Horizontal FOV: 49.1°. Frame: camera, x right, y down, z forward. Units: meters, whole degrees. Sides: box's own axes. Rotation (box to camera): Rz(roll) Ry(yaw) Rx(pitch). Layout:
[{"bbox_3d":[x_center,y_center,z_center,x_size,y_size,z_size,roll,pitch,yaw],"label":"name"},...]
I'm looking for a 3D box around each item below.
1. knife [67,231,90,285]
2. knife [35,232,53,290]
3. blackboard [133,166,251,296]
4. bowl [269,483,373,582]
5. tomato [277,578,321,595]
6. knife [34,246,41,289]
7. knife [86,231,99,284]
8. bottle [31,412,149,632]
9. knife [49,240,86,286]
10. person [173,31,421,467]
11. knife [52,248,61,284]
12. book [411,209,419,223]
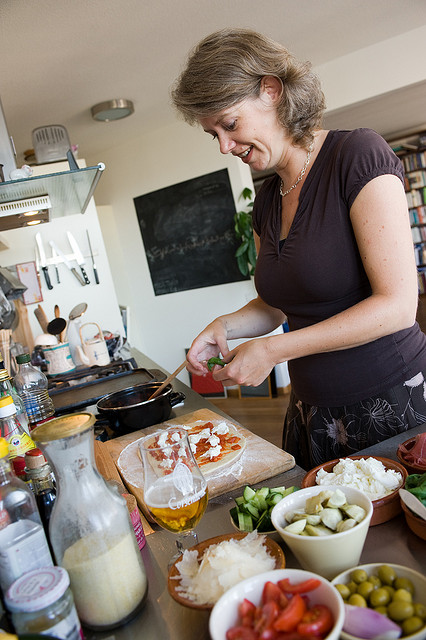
[{"bbox_3d":[-1.041,-0.527,3.584,0.078,0.531,0.028,-21,-1,-9],"label":"knife"},{"bbox_3d":[-1.267,-0.446,3.520,0.035,0.436,0.082,-6,3,27],"label":"knife"},{"bbox_3d":[-0.171,-0.925,4.635,1.391,1.405,0.028,-2,16,42],"label":"blackboard"},{"bbox_3d":[0.130,0.237,0.518,0.104,0.068,0.098,-17,4,1],"label":"bowl"},{"bbox_3d":[0.075,0.236,0.416,0.042,0.011,0.015,-6,3,23],"label":"tomato"},{"bbox_3d":[-1.310,-0.410,3.520,0.038,0.285,0.015,-1,8,2],"label":"knife"},{"bbox_3d":[-0.926,-0.435,3.633,0.019,0.293,0.019,-13,12,5],"label":"knife"},{"bbox_3d":[-0.133,0.227,0.502,0.082,0.235,0.123,-7,2,3],"label":"bottle"},{"bbox_3d":[-1.120,-0.435,3.582,0.057,0.424,0.043,-34,19,12],"label":"knife"},{"bbox_3d":[0.169,-0.102,1.088,0.482,0.740,0.597,-9,3,-33],"label":"person"},{"bbox_3d":[-1.186,-0.410,3.559,0.031,0.268,0.035,-8,3,-18],"label":"knife"},{"bbox_3d":[3.080,-1.613,7.163,0.095,0.174,0.182,-3,12,4],"label":"book"}]
